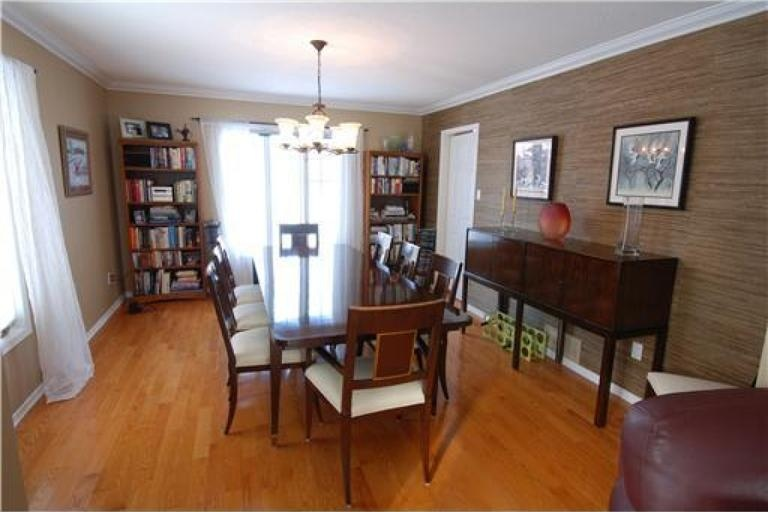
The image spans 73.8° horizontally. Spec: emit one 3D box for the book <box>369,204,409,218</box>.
[{"bbox_3d":[0.096,-0.640,7.365,0.341,0.112,0.273,-9,16,-43],"label":"book"}]

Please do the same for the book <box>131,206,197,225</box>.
[{"bbox_3d":[-2.766,-0.519,6.419,0.774,0.227,0.391,-5,12,-21],"label":"book"}]

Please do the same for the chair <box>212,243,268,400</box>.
[{"bbox_3d":[-1.306,0.623,4.591,0.617,1.356,0.730,-9,41,-14],"label":"chair"}]

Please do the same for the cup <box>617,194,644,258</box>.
[{"bbox_3d":[2.026,-0.248,4.190,0.146,0.463,0.147,0,13,0],"label":"cup"}]

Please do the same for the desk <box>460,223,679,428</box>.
[{"bbox_3d":[1.615,0.453,5.089,0.712,1.314,2.087,-8,16,-27],"label":"desk"}]

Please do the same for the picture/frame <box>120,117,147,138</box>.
[{"bbox_3d":[-3.034,-1.541,6.164,0.020,0.218,0.259,6,22,45],"label":"picture/frame"}]

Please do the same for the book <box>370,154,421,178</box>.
[{"bbox_3d":[0.155,-1.263,7.194,0.682,0.285,0.166,0,13,-1],"label":"book"}]

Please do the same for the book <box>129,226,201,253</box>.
[{"bbox_3d":[-2.739,-0.228,6.397,0.789,0.303,0.141,-4,13,-19],"label":"book"}]

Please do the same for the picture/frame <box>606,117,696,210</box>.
[{"bbox_3d":[2.256,-0.777,4.274,0.067,0.901,0.746,-8,13,-33],"label":"picture/frame"}]

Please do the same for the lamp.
[{"bbox_3d":[-0.648,-1.579,5.063,0.944,1.082,0.942,-2,14,-18],"label":"lamp"}]

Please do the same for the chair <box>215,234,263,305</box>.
[{"bbox_3d":[-1.454,0.328,5.299,0.495,0.772,0.449,-3,18,-22],"label":"chair"}]

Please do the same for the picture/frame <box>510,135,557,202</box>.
[{"bbox_3d":[1.569,-0.911,5.307,0.106,0.767,0.665,-3,11,-25],"label":"picture/frame"}]

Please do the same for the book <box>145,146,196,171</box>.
[{"bbox_3d":[-2.637,-1.067,6.302,0.546,0.493,0.294,0,7,-15],"label":"book"}]
